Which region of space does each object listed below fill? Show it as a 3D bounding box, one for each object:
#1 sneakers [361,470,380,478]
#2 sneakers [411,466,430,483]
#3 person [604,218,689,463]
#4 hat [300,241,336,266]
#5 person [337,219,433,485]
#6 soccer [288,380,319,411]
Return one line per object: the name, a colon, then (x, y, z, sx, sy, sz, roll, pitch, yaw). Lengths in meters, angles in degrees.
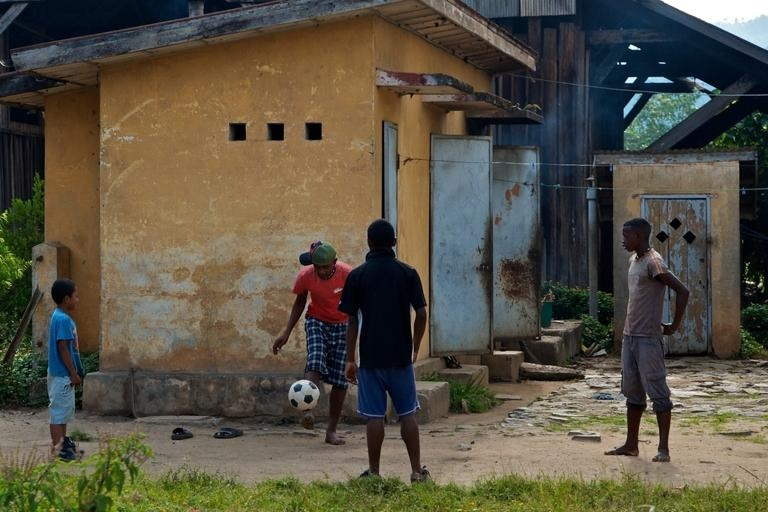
sneakers: (-0.191, 2.765, 15.566, 0.250, 0.112, 0.088, -4, -8, 25)
sneakers: (0.456, 2.762, 15.571, 0.235, 0.184, 0.361, -1, -5, 2)
person: (3.493, 1.118, 16.442, 1.002, 3.210, 0.428, -2, -4, 19)
hat: (-0.943, 0.005, 17.059, 0.469, 0.320, 0.289, 8, -34, 15)
person: (0.000, 1.208, 15.691, 1.062, 3.309, 0.357, -1, -4, 0)
soccer: (-1.097, 1.943, 16.930, 0.392, 0.417, 0.444, 5, -49, -16)
